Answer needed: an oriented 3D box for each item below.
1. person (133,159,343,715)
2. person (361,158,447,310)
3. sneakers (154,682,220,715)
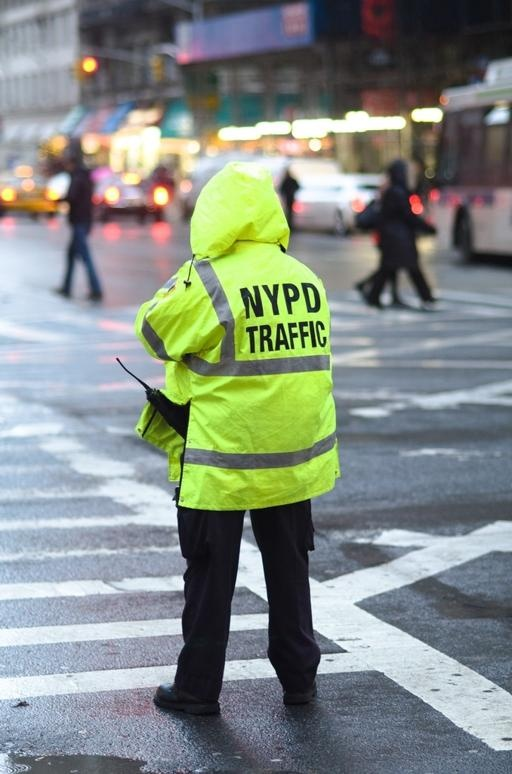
[{"bbox_3d":[-0.040,0.177,2.955,0.638,1.675,0.340,0,10,-8],"label":"person"},{"bbox_3d":[2.135,-2.255,14.119,0.640,2.132,1.535,-1,9,-13],"label":"person"},{"bbox_3d":[-0.214,0.963,3.034,0.183,0.108,0.082,11,-4,24],"label":"sneakers"}]
